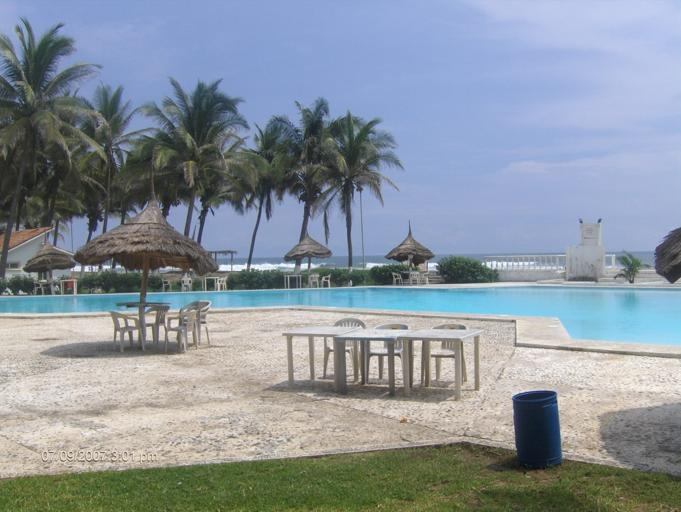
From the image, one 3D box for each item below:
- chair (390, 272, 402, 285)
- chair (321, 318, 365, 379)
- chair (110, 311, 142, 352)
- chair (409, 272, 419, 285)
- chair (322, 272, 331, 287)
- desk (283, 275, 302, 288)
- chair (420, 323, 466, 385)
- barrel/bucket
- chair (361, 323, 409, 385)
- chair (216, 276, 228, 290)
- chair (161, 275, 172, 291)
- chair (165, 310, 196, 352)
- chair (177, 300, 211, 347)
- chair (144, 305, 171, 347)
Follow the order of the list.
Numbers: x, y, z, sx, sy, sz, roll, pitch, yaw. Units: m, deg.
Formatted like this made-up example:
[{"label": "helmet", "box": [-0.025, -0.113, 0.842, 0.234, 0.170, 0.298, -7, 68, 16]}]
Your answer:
[{"label": "chair", "box": [3.051, 1.220, 33.465, 0.531, 0.833, 0.593, 0, -6, -12]}, {"label": "chair", "box": [0.085, 1.465, 9.963, 0.639, 0.902, 0.625, -1, -1, 17]}, {"label": "chair", "box": [-4.290, 1.480, 12.271, 0.532, 0.743, 0.577, 1, -2, -35]}, {"label": "chair", "box": [4.008, 1.156, 33.009, 0.516, 0.698, 0.698, -2, 4, 1]}, {"label": "chair", "box": [-0.815, 1.319, 33.430, 0.596, 0.872, 0.587, 2, -4, -27]}, {"label": "desk", "box": [-2.551, 1.291, 33.094, 0.744, 0.855, 0.765, -1, 1, -7]}, {"label": "chair", "box": [1.585, 1.465, 9.202, 0.629, 0.825, 0.593, -2, 0, 21]}, {"label": "barrel/bucket", "box": [2.038, 1.814, 6.351, 0.459, 0.718, 0.206, -1, -4, 15]}, {"label": "chair", "box": [0.703, 1.483, 9.468, 0.588, 0.886, 0.659, -1, -4, 42]}, {"label": "chair", "box": [-6.044, 1.403, 31.281, 0.545, 0.749, 0.444, 1, -3, -8]}, {"label": "chair", "box": [-8.759, 1.428, 30.965, 0.496, 0.617, 1.472, 1, -5, -16]}, {"label": "chair", "box": [-3.170, 1.436, 12.265, 0.545, 0.752, 0.543, -1, -16, 11]}, {"label": "chair", "box": [-2.876, 1.360, 12.231, 0.602, 0.771, 0.572, -5, -14, -43]}, {"label": "chair", "box": [-3.864, 1.432, 12.845, 0.601, 0.798, 0.564, -2, -5, 5]}]
